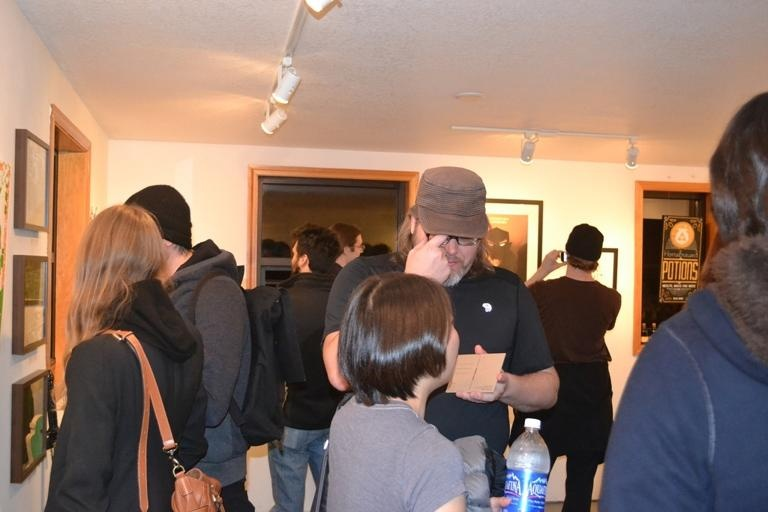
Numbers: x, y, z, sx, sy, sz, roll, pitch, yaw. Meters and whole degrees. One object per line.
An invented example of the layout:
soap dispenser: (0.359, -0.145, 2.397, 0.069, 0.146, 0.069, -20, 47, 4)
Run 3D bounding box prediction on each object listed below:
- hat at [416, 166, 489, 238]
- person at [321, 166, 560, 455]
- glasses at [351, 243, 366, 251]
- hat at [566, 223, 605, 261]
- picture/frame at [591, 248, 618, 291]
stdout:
hat: (0.241, -0.231, 2.219, 0.289, 0.188, 0.390, 6, 25, -2)
person: (0.207, 0.327, 2.176, 0.867, 1.128, 0.670, 4, 1, -1)
glasses: (-0.201, -0.070, 4.983, 0.070, 0.020, 0.067, 3, -43, -6)
hat: (1.325, -0.108, 4.041, 0.282, 0.239, 0.254, 1, 5, 0)
picture/frame: (2.021, 0.134, 5.540, 0.035, 0.381, 0.301, 3, 0, -18)
